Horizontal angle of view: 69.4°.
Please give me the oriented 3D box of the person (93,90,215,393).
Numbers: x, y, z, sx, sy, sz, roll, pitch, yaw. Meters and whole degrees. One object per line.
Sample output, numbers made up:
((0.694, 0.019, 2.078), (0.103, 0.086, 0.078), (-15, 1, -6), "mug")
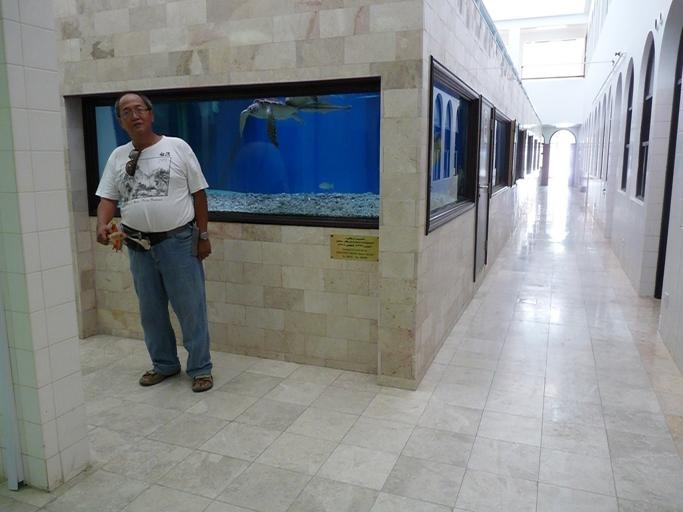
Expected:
((-1.415, -0.086, 3.706), (0.810, 2.194, 0.675), (-3, 7, -11), "person")

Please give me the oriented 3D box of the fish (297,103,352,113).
((-0.119, -1.186, 3.939), (0.423, 0.074, 0.094), (0, 8, 15), "fish")

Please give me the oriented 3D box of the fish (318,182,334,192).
((-0.127, -0.569, 4.043), (0.154, 0.092, 0.047), (12, 5, 21), "fish")

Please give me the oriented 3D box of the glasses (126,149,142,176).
((-1.521, -0.685, 3.629), (0.096, 0.189, 0.044), (12, 1, 25), "glasses")

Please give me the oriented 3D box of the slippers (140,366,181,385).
((-1.445, 0.940, 3.933), (0.099, 0.117, 0.289), (5, -1, 33), "slippers")

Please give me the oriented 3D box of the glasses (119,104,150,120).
((-1.479, -1.027, 3.504), (0.110, 0.061, 0.139), (-7, -8, -20), "glasses")

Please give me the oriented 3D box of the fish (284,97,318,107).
((-0.320, -1.250, 3.974), (0.222, 0.120, 0.103), (6, 43, 5), "fish")
